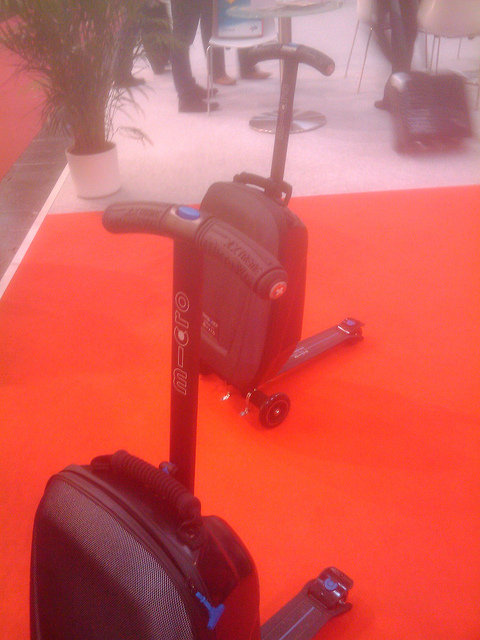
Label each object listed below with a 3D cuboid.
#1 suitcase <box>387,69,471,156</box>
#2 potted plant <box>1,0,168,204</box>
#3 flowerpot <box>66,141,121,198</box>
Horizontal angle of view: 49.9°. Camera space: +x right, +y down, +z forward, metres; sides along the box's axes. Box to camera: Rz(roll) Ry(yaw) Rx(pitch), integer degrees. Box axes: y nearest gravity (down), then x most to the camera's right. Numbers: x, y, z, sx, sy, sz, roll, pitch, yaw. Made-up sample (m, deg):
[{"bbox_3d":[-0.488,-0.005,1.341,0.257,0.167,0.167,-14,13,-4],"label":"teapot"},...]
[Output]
[{"bbox_3d":[1.432,-1.531,3.773,0.606,0.367,0.861,6,39,4],"label":"suitcase"},{"bbox_3d":[-0.851,-1.165,2.847,0.705,1.080,0.405,-14,39,-20],"label":"potted plant"},{"bbox_3d":[-0.844,-0.887,3.125,0.305,0.291,0.295,-2,34,-3],"label":"flowerpot"}]
